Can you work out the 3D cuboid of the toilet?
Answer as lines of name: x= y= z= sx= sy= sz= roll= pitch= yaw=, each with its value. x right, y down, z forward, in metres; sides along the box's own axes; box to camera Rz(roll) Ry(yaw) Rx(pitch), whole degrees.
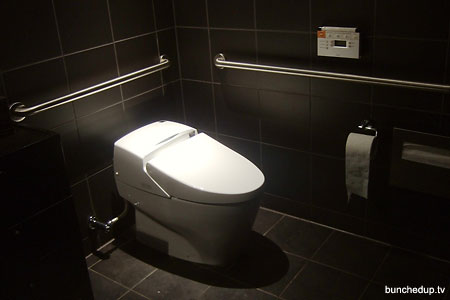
toilet: x=-0.210 y=0.193 z=2.272 sx=0.988 sy=0.811 sz=0.645 roll=16 pitch=33 yaw=23
